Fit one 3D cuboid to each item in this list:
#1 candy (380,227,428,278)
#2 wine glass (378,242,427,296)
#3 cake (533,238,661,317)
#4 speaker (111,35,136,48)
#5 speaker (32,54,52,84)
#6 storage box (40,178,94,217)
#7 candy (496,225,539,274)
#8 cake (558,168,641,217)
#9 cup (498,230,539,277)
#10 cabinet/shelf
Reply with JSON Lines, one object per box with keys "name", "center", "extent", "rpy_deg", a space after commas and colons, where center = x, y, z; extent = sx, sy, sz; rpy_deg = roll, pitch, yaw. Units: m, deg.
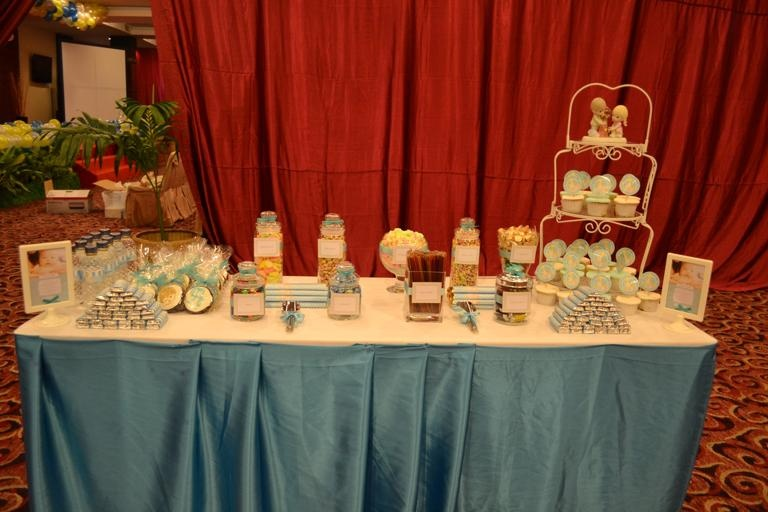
{"name": "candy", "center": [0.094, -0.026, 2.964], "extent": [0.263, 0.273, 0.254], "rpy_deg": [0, 4, -19]}
{"name": "wine glass", "center": [0.110, 0.065, 3.022], "extent": [0.262, 0.294, 0.261], "rpy_deg": [1, 6, -1]}
{"name": "cake", "center": [1.165, 0.096, 2.961], "extent": [0.499, 0.187, 0.474], "rpy_deg": [3, 22, 6]}
{"name": "speaker", "center": [-6.747, -5.564, 14.117], "extent": [0.494, 0.354, 0.470], "rpy_deg": [1, 7, -3]}
{"name": "speaker", "center": [-8.462, -4.632, 13.411], "extent": [0.334, 0.740, 0.815], "rpy_deg": [-5, 22, -14]}
{"name": "storage box", "center": [-4.836, -0.908, 8.326], "extent": [0.528, 0.415, 0.537], "rpy_deg": [0, 10, -6]}
{"name": "candy", "center": [0.788, -0.044, 3.046], "extent": [0.235, 0.264, 0.236], "rpy_deg": [0, 5, 0]}
{"name": "cake", "center": [1.260, -0.361, 3.161], "extent": [0.343, 0.148, 0.347], "rpy_deg": [5, 12, 21]}
{"name": "cup", "center": [0.729, -0.025, 2.944], "extent": [0.228, 0.241, 0.225], "rpy_deg": [0, 2, 0]}
{"name": "cabinet/shelf", "center": [1.605, -0.497, 4.002], "extent": [0.806, 1.481, 0.631], "rpy_deg": [7, 5, 14]}
